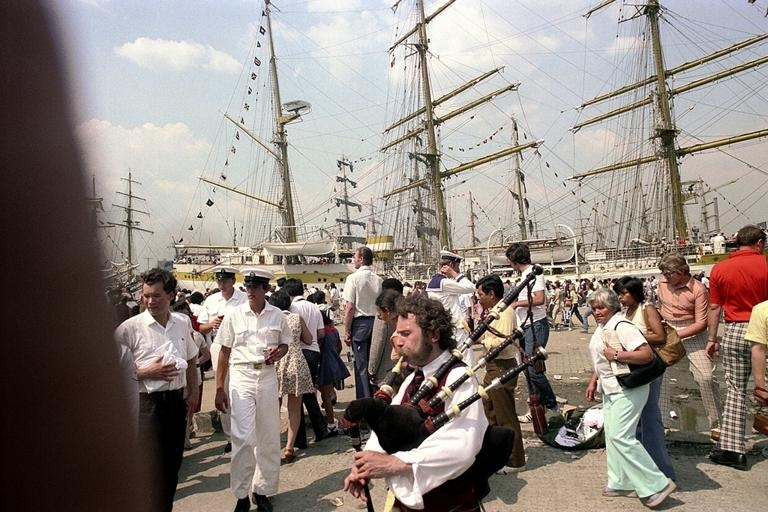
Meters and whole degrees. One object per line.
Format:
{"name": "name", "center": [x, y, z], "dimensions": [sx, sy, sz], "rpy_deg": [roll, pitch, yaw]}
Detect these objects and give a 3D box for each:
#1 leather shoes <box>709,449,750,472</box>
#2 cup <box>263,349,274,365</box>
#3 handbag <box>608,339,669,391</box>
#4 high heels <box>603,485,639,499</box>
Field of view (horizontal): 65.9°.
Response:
{"name": "leather shoes", "center": [3.213, 1.885, 5.537], "dimensions": [0.136, 0.156, 0.357], "rpy_deg": [1, -2, -28]}
{"name": "cup", "center": [-1.033, 0.913, 5.355], "dimensions": [0.116, 0.174, 0.110], "rpy_deg": [1, -11, 0]}
{"name": "handbag", "center": [2.156, 0.959, 4.937], "dimensions": [0.412, 0.305, 0.124], "rpy_deg": [-1, -2, 0]}
{"name": "high heels", "center": [2.031, 2.035, 5.087], "dimensions": [0.271, 0.081, 0.076], "rpy_deg": [-2, -2, 20]}
